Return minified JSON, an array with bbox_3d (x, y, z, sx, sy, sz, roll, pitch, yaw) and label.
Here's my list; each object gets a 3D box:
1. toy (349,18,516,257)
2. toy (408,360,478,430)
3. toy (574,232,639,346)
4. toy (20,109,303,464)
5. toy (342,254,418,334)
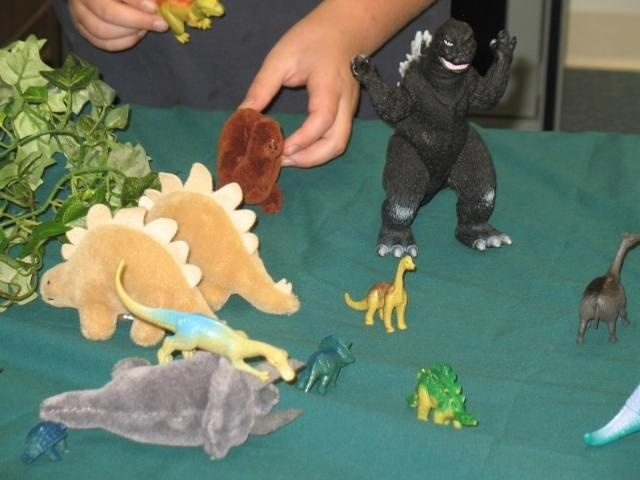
[{"bbox_3d":[0.208,-0.195,1.373,0.266,0.384,0.354,-11,56,6],"label":"toy"},{"bbox_3d":[0.187,0.250,1.136,0.051,0.070,0.136,-2,9,-25],"label":"toy"},{"bbox_3d":[0.515,0.095,1.262,0.056,0.108,0.172,13,62,43],"label":"toy"},{"bbox_3d":[-0.263,0.161,1.198,0.447,0.224,0.486,-29,56,-5],"label":"toy"},{"bbox_3d":[0.104,0.094,1.284,0.142,0.059,0.136,3,93,38],"label":"toy"}]
